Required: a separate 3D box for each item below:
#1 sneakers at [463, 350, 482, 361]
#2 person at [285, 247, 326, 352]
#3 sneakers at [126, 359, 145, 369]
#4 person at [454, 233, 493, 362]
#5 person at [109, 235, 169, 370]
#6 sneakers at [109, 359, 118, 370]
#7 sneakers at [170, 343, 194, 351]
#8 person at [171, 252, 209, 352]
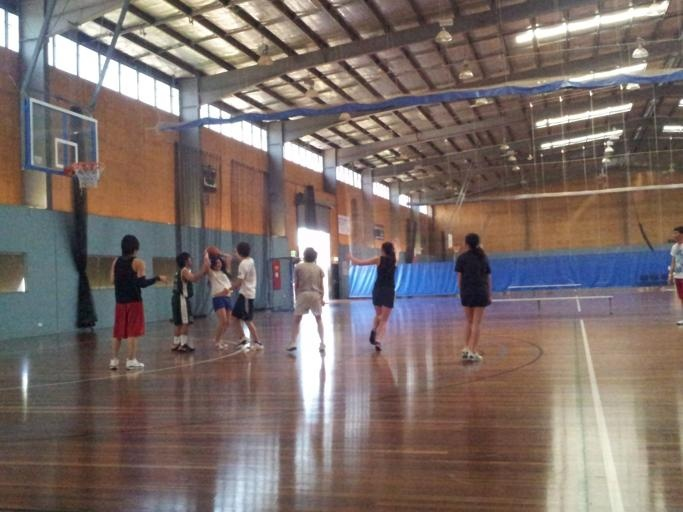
[{"bbox_3d":[1.543,1.174,7.280,0.202,0.082,0.111,0,1,-8],"label":"sneakers"},{"bbox_3d":[-0.517,0.611,8.775,0.528,1.491,1.074,-2,4,-3],"label":"person"},{"bbox_3d":[-2.485,1.307,7.505,0.237,0.118,0.117,0,-1,-8],"label":"sneakers"},{"bbox_3d":[1.595,0.480,7.492,0.405,1.530,0.782,-1,4,12],"label":"person"},{"bbox_3d":[-2.580,0.581,7.537,0.570,1.687,1.047,-4,5,-22],"label":"person"},{"bbox_3d":[-2.832,1.350,7.643,0.126,0.060,0.151,2,-31,-14],"label":"sneakers"},{"bbox_3d":[-2.332,1.327,9.073,0.278,0.127,0.135,-1,-5,5],"label":"sneakers"},{"bbox_3d":[-2.225,0.691,9.001,0.521,1.491,1.149,-4,5,-23],"label":"person"}]
